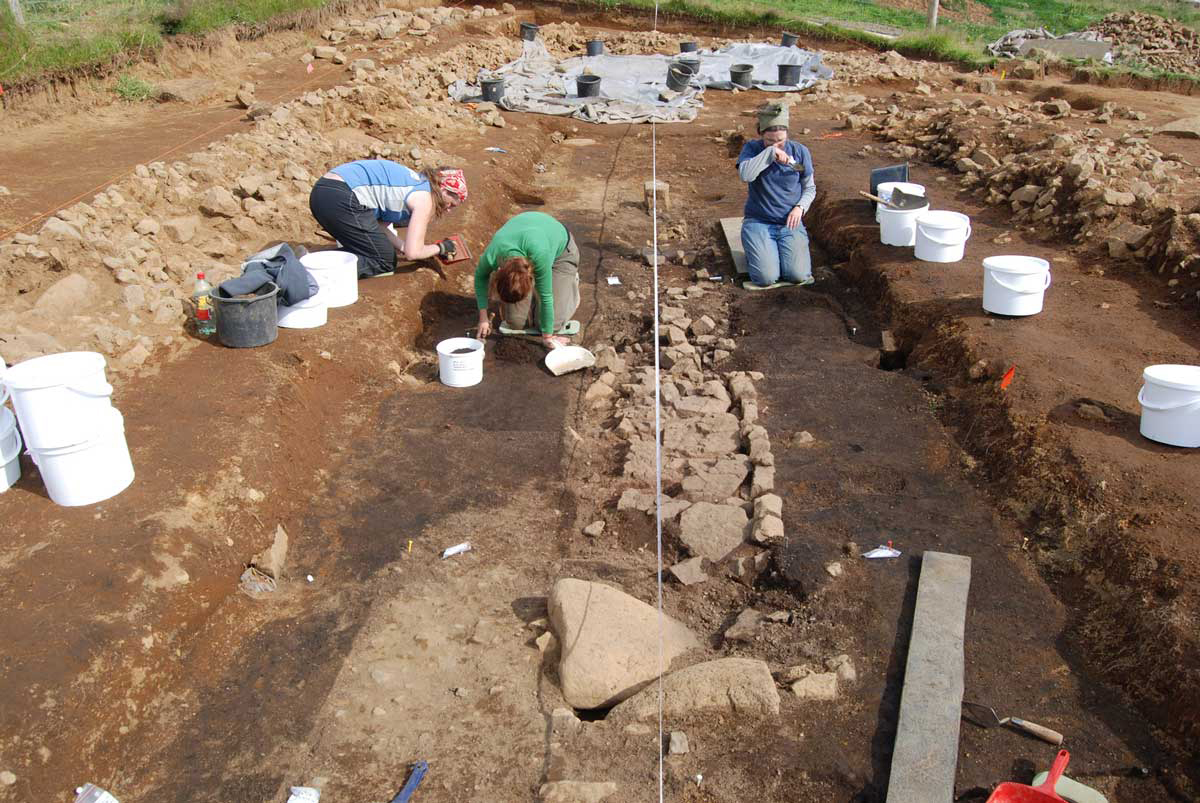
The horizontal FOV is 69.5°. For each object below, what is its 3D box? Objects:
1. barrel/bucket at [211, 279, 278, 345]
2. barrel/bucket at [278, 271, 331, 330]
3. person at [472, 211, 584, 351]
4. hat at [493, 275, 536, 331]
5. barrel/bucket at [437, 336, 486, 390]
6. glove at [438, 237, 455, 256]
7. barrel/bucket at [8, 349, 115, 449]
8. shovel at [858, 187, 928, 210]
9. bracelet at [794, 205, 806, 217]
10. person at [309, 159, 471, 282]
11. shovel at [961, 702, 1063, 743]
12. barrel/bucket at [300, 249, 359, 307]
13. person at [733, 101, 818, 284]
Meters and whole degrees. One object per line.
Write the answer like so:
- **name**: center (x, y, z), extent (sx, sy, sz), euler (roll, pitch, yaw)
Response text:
- **barrel/bucket**: center (-2.666, -0.690, 6.760), extent (0.483, 0.438, 0.523), euler (5, 25, -2)
- **barrel/bucket**: center (-2.352, -0.840, 7.088), extent (0.441, 0.312, 0.418), euler (1, 28, 0)
- **person**: center (-0.580, -1.100, 7.402), extent (0.812, 0.727, 1.319), euler (5, 40, 4)
- **hat**: center (-0.733, -0.849, 7.707), extent (0.377, 0.364, 0.350), euler (-5, 41, -4)
- **barrel/bucket**: center (-1.158, -0.367, 7.164), extent (0.410, 0.307, 0.416), euler (1, 33, 0)
- **glove**: center (-1.404, -1.440, 8.038), extent (0.133, 0.065, 0.150), euler (-8, 47, -7)
- **barrel/bucket**: center (-3.272, -0.060, 5.396), extent (0.576, 0.455, 0.616), euler (0, 19, 0)
- **shovel**: center (2.885, -1.963, 8.258), extent (0.472, 0.148, 0.346), euler (-4, 18, -5)
- **bracelet**: center (1.961, -1.832, 8.312), extent (0.133, 0.082, 0.130), euler (3, 11, 5)
- **person**: center (-2.011, -1.724, 7.916), extent (1.563, 0.907, 1.077), euler (-5, 31, -26)
- **shovel**: center (2.287, 1.781, 4.845), extent (0.673, 0.079, 0.171), euler (10, 70, 13)
- **barrel/bucket**: center (-2.270, -1.037, 7.274), extent (0.471, 0.345, 0.468), euler (-1, 25, 0)
- **person**: center (1.725, -1.936, 8.191), extent (0.789, 1.496, 1.074), euler (3, 44, 6)
